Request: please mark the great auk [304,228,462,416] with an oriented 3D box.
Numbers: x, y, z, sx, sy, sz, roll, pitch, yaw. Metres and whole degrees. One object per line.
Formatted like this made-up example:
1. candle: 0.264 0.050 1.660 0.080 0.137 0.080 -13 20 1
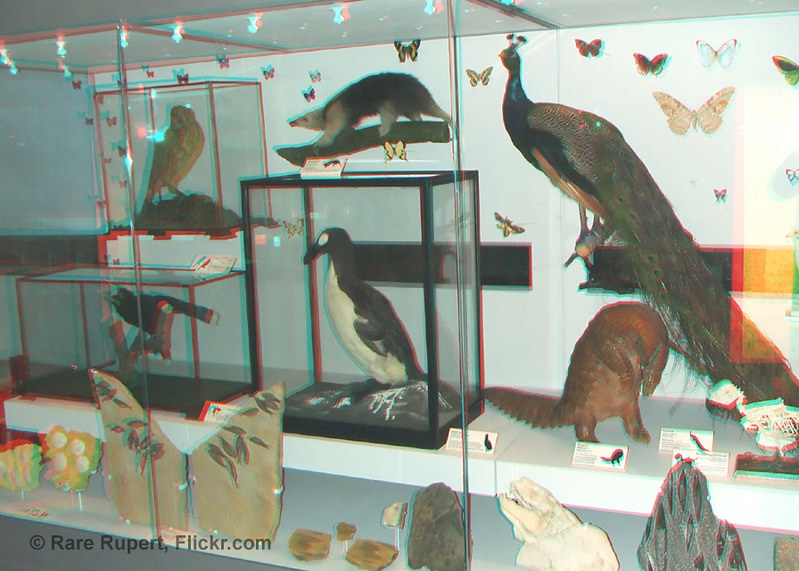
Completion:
1. great auk: -0.054 0.095 2.861 0.544 0.564 0.258 3 12 11
